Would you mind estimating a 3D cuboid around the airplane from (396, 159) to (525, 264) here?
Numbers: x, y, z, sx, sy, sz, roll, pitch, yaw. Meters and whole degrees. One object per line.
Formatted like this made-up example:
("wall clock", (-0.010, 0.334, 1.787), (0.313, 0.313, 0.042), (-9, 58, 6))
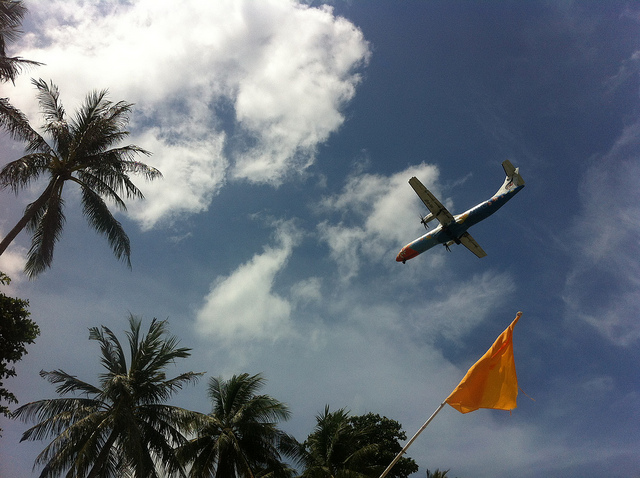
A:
("airplane", (9.436, -2.028, 45.016), (10.037, 2.929, 4.307), (-38, -51, 16))
